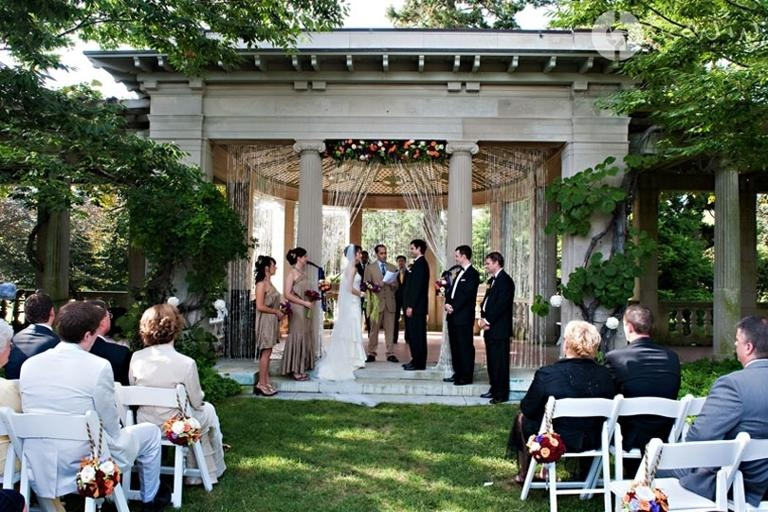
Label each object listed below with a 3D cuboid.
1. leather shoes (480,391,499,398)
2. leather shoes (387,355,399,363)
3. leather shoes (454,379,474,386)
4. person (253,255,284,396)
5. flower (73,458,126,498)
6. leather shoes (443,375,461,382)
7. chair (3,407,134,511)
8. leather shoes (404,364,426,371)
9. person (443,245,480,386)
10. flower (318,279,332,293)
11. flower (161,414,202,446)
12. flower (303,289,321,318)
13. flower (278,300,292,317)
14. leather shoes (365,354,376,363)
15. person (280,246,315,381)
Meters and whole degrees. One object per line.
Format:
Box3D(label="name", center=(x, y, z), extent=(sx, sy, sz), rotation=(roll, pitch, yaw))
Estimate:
Box3D(label="leather shoes", center=(1.723, 2.289, 13.819), extent=(0.251, 0.112, 0.087), rotation=(1, -4, 31))
Box3D(label="leather shoes", center=(0.177, 1.896, 15.359), extent=(0.098, 0.083, 0.195), rotation=(0, -1, 38))
Box3D(label="leather shoes", center=(1.337, 2.142, 14.133), extent=(0.310, 0.138, 0.105), rotation=(-4, -6, 5))
Box3D(label="person", center=(-1.906, 1.164, 13.820), extent=(0.489, 2.273, 0.723), rotation=(2, -6, -10))
Box3D(label="flower", center=(-3.265, 2.536, 9.564), extent=(0.420, 0.339, 0.458), rotation=(12, 4, -18))
Box3D(label="leather shoes", center=(1.157, 2.085, 14.250), extent=(0.300, 0.132, 0.105), rotation=(0, -6, 39))
Box3D(label="chair", center=(-3.751, 2.324, 10.233), extent=(1.105, 1.746, 1.181), rotation=(0, 9, 1))
Box3D(label="leather shoes", center=(0.529, 1.948, 14.621), extent=(0.260, 0.109, 0.156), rotation=(5, -10, 2))
Box3D(label="person", center=(1.304, 1.016, 14.083), extent=(0.542, 2.269, 0.540), rotation=(1, -6, 5))
Box3D(label="flower", center=(-1.041, 0.535, 14.554), extent=(0.203, 0.215, 0.212), rotation=(-1, -2, 23))
Box3D(label="flower", center=(-2.470, 2.128, 10.291), extent=(0.366, 0.215, 0.354), rotation=(14, 5, 25))
Box3D(label="flower", center=(-1.207, 0.814, 14.293), extent=(0.395, 0.453, 0.394), rotation=(6, -3, -1))
Box3D(label="flower", center=(-1.628, 0.869, 13.927), extent=(0.218, 0.236, 0.218), rotation=(5, 23, -29))
Box3D(label="leather shoes", center=(-0.246, 1.880, 15.321), extent=(0.121, 0.123, 0.122), rotation=(2, 1, 9))
Box3D(label="person", center=(-1.431, 0.997, 14.191), extent=(0.545, 2.206, 0.958), rotation=(2, -6, -7))
